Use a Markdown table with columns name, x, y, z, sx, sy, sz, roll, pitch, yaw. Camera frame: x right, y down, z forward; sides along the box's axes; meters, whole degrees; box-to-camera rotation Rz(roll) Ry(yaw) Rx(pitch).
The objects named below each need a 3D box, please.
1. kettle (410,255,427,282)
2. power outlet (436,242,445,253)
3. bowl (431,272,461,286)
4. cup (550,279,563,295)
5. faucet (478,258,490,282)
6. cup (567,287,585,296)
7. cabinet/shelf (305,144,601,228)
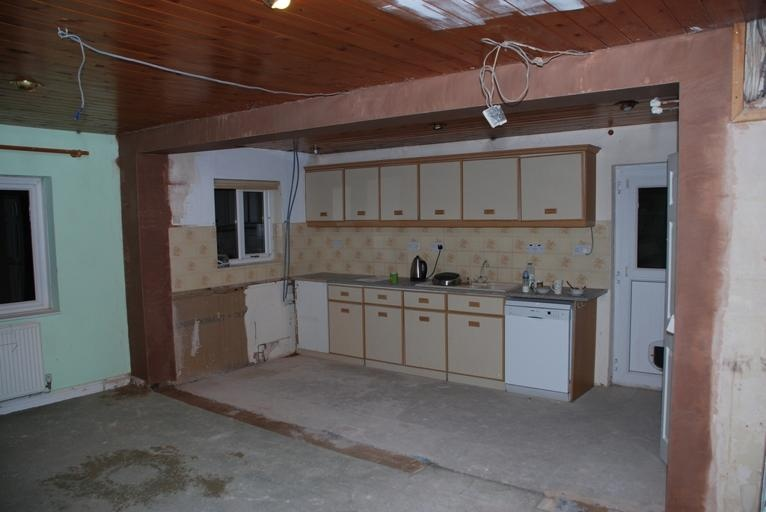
| name | x | y | z | sx | sy | sz | roll | pitch | yaw |
| --- | --- | --- | --- | --- | --- | --- | --- | --- | --- |
| kettle | 0.458 | 0.186 | 6.936 | 0.305 | 0.379 | 0.236 | 3 | -4 | -34 |
| power outlet | 0.738 | -0.103 | 6.840 | 0.092 | 0.137 | 0.144 | 0 | -3 | 12 |
| bowl | 0.761 | 0.280 | 6.414 | 0.307 | 0.132 | 0.202 | -1 | 5 | 3 |
| cup | 1.885 | 0.340 | 5.761 | 0.104 | 0.134 | 0.231 | 0 | 5 | 15 |
| faucet | 1.246 | 0.173 | 6.541 | 0.078 | 0.215 | 0.314 | 13 | -30 | -2 |
| cup | 2.070 | 0.383 | 5.691 | 0.141 | 0.064 | 0.100 | 0 | -1 | -8 |
| cabinet/shelf | 0.671 | -0.786 | 6.501 | 3.460 | 0.854 | 0.417 | 1 | 6 | 25 |
